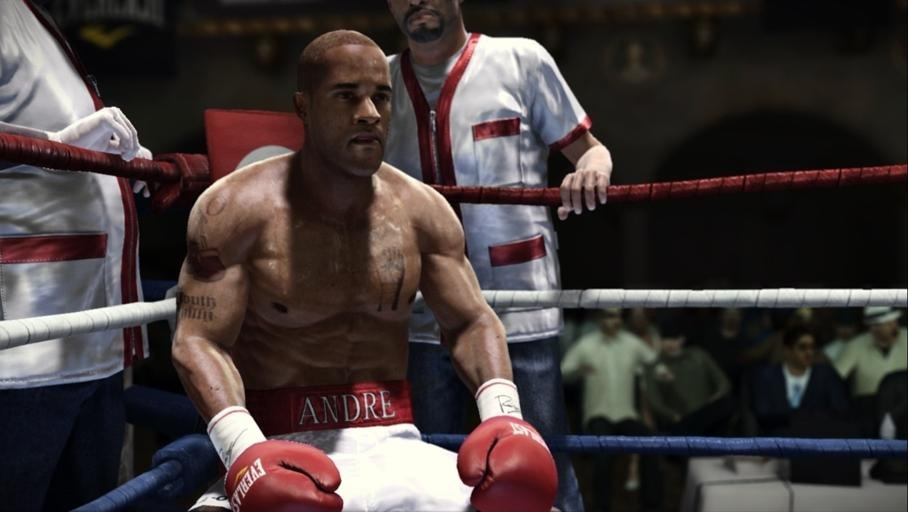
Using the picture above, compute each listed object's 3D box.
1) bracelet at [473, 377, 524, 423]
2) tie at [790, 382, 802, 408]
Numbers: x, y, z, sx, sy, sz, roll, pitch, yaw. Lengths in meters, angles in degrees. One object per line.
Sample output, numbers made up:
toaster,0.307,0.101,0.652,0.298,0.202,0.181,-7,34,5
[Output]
bracelet,0.331,1.223,10.252,0.354,0.376,0.351,-17,-7,-15
tie,3.972,1.643,14.156,0.057,0.232,0.165,7,2,-1
